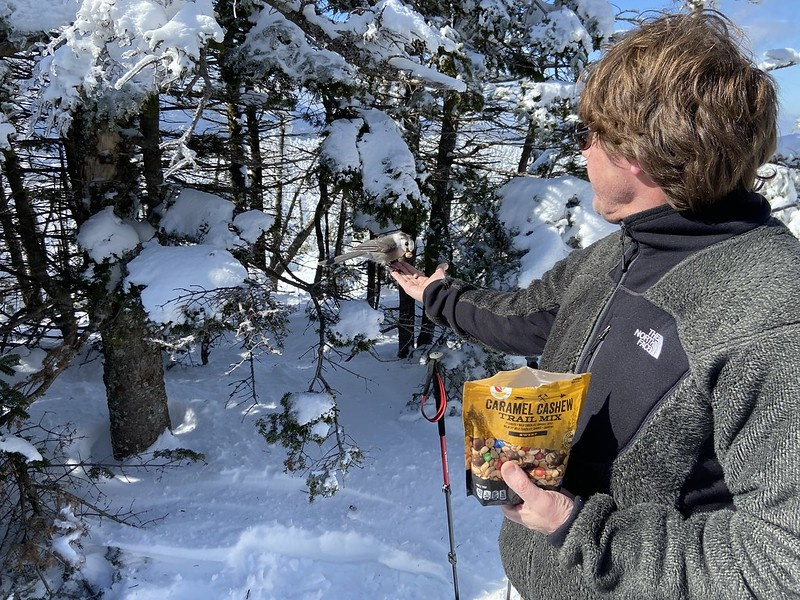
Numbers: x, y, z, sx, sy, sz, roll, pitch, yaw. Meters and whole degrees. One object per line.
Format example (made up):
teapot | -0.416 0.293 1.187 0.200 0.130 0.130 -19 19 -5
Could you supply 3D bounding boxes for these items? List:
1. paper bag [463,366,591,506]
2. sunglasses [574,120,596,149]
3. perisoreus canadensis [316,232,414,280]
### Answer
paper bag | 0.751 0.808 3.869 0.803 0.802 0.270 3 18 -5
sunglasses | 1.145 -1.037 4.157 0.059 0.168 0.164 9 17 12
perisoreus canadensis | -0.322 -0.467 6.130 1.019 0.394 0.299 3 17 8
